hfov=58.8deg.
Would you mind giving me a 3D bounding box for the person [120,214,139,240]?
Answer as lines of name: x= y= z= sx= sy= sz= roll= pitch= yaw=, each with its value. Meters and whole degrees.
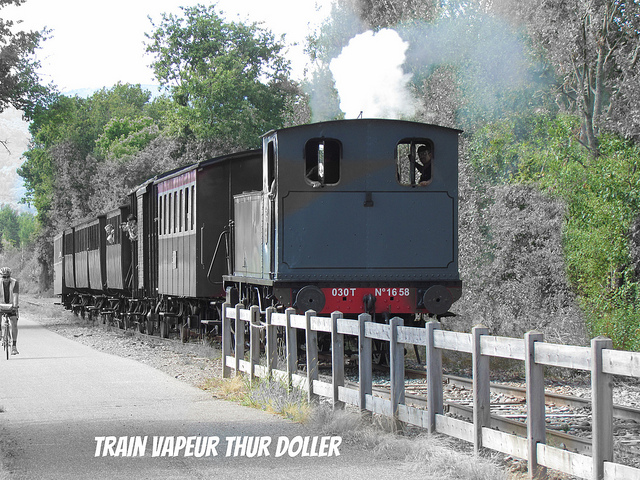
person: x=-8.035 y=-0.498 z=24.037 sx=0.468 sy=0.651 sz=0.960 roll=-3 pitch=12 yaw=-20
